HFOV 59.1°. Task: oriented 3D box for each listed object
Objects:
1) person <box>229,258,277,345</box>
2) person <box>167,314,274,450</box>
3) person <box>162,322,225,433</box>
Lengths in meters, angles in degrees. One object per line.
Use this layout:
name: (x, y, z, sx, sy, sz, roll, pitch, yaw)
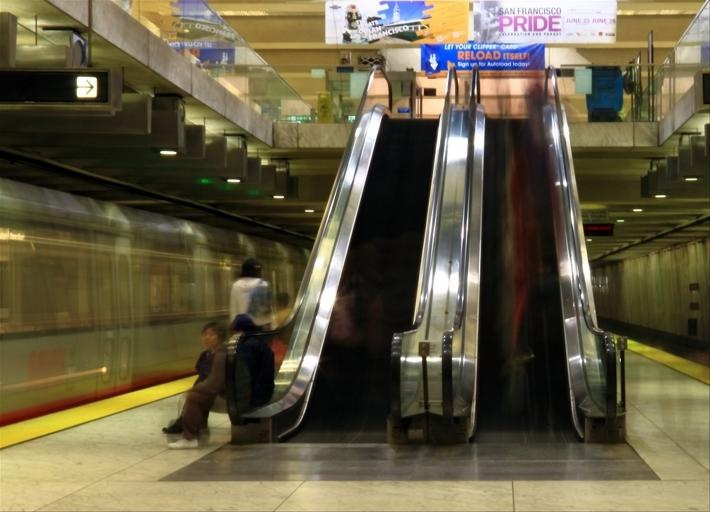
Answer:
person: (-1.381, 0.552, 7.939, 0.437, 0.995, 0.273, 6, 30, -8)
person: (-1.375, 1.277, 6.605, 0.868, 1.290, 0.875, -2, -2, 15)
person: (-1.741, 1.377, 6.913, 0.747, 1.268, 0.443, -4, 15, -29)
